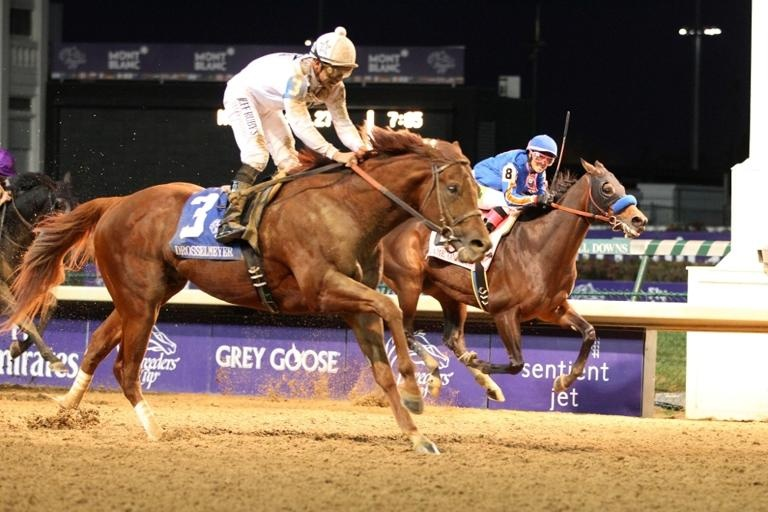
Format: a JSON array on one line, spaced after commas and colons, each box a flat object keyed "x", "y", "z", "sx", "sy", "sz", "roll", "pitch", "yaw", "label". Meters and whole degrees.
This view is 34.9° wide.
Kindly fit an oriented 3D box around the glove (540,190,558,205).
[{"x": 1.594, "y": -0.564, "z": 11.904, "sx": 0.146, "sy": 0.062, "sz": 0.192, "roll": -4, "pitch": 6, "yaw": 4, "label": "glove"}]

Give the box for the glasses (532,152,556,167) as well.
[{"x": 1.554, "y": -0.957, "z": 12.096, "sx": 0.155, "sy": 0.054, "sz": 0.157, "roll": 11, "pitch": 4, "yaw": -24, "label": "glasses"}]

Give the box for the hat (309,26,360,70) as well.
[{"x": -0.415, "y": -1.819, "z": 10.695, "sx": 0.420, "sy": 0.264, "sz": 0.289, "roll": 27, "pitch": 19, "yaw": 21, "label": "hat"}]

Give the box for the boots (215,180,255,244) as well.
[{"x": -1.245, "y": -0.480, "z": 10.788, "sx": 0.193, "sy": 0.464, "sz": 0.575, "roll": -29, "pitch": -6, "yaw": -14, "label": "boots"}]

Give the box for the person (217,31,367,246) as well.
[{"x": -0.798, "y": -1.137, "z": 10.975, "sx": 1.541, "sy": 1.884, "sz": 0.985, "roll": 15, "pitch": 16, "yaw": 17, "label": "person"}]

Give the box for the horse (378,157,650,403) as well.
[{"x": 0.966, "y": 0.274, "z": 12.533, "sx": 0.913, "sy": 2.421, "sz": 3.945, "roll": 2, "pitch": 1, "yaw": -41, "label": "horse"}]

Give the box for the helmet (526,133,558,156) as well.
[{"x": 1.571, "y": -1.099, "z": 12.207, "sx": 0.268, "sy": 0.202, "sz": 0.439, "roll": 4, "pitch": 10, "yaw": 10, "label": "helmet"}]
